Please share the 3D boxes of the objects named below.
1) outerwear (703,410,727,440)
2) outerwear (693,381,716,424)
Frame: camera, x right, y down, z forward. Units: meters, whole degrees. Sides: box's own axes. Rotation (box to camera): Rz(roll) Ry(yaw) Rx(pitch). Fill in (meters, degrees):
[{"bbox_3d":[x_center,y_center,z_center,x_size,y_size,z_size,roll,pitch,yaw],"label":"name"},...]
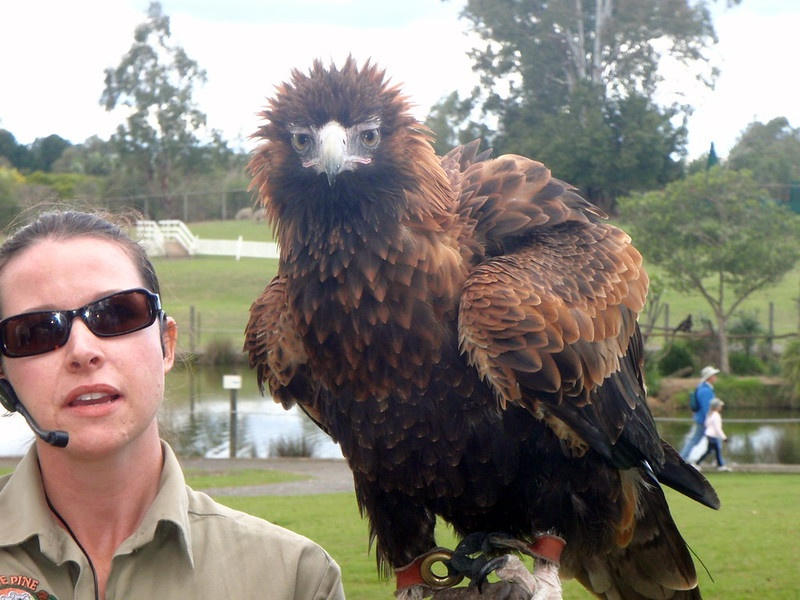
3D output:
[{"bbox_3d":[3.637,1.446,16.432,0.177,0.304,0.377,-7,12,-26],"label":"outerwear"},{"bbox_3d":[3.583,1.204,16.604,0.238,0.506,0.549,-1,3,10],"label":"outerwear"}]
